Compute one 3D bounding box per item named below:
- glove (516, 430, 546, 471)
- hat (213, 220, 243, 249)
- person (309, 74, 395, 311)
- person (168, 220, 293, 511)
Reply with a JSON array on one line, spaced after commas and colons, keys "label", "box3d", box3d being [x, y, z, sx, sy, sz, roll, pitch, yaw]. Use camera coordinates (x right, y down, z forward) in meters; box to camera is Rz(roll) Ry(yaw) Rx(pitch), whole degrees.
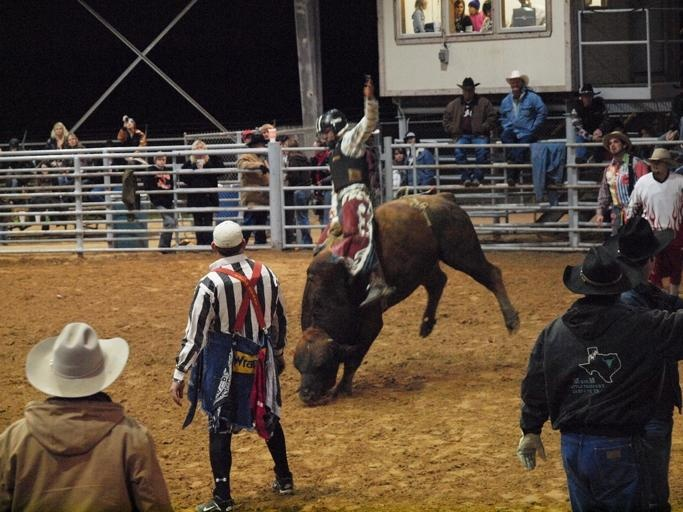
[{"label": "glove", "box3d": [1.750, 1.815, 10.801, 0.321, 0.457, 0.123, -1, -1, -1]}, {"label": "hat", "box3d": [-1.141, -0.205, 11.592, 0.296, 0.267, 0.193, -2, 5, -8]}, {"label": "person", "box3d": [0.072, -0.774, 13.707, 0.742, 2.688, 0.911, -4, 6, -31]}, {"label": "person", "box3d": [-1.085, 1.107, 11.570, 1.127, 2.875, 0.506, -2, 5, -5]}]
